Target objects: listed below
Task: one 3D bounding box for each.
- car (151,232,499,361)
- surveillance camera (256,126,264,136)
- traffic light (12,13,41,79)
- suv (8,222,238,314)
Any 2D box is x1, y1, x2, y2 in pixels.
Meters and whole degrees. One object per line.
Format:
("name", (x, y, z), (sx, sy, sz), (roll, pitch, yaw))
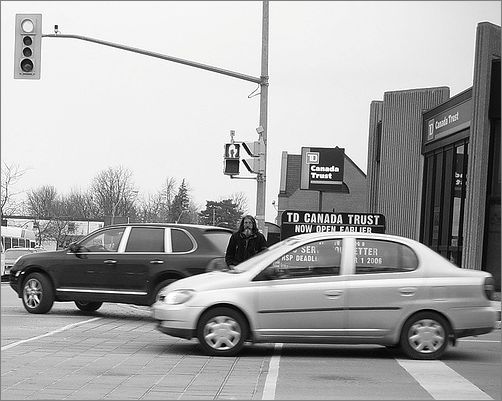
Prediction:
("car", (1.133, 1.377, 9.853), (4.643, 1.556, 1.975), (2, -6, 2))
("surveillance camera", (0.292, -1.948, 18.446), (0.240, 0.322, 0.231), (0, 0, -23))
("traffic light", (-5.164, -3.600, 15.167), (0.608, 1.518, 0.409), (0, 0, -18))
("suv", (-2.694, 1.279, 14.056), (4.266, 1.462, 1.908), (1, -3, 14))
